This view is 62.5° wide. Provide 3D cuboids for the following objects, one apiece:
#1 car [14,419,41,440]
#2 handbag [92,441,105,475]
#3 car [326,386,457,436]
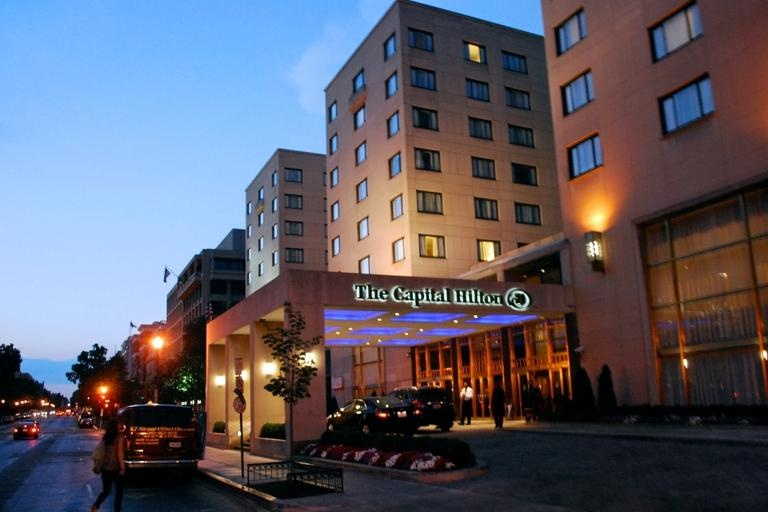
[{"bbox_3d":[-29.982,14.567,53.227,1.471,1.128,3.352,2,-9,-14],"label":"car"},{"bbox_3d":[-8.863,6.189,19.686,0.375,0.909,0.390,6,-19,-23],"label":"handbag"},{"bbox_3d":[0.494,7.962,33.047,6.129,2.545,3.396,0,-19,-5],"label":"car"}]
